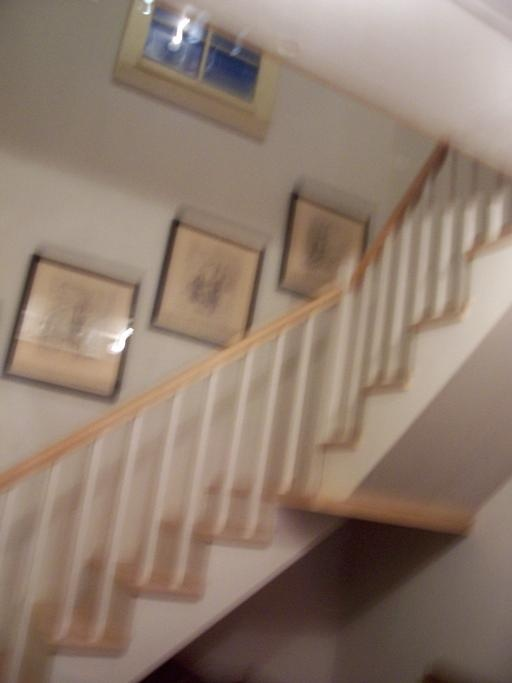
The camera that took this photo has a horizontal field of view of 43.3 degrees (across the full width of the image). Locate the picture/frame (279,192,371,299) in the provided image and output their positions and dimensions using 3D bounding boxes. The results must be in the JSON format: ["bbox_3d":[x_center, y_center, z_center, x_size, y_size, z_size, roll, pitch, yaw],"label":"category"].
[{"bbox_3d":[0.184,-0.260,1.802,0.288,0.282,0.043,19,-19,-24],"label":"picture/frame"}]

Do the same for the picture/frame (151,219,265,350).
[{"bbox_3d":[-0.135,-0.137,1.638,0.315,0.314,0.035,21,-11,-26],"label":"picture/frame"}]
